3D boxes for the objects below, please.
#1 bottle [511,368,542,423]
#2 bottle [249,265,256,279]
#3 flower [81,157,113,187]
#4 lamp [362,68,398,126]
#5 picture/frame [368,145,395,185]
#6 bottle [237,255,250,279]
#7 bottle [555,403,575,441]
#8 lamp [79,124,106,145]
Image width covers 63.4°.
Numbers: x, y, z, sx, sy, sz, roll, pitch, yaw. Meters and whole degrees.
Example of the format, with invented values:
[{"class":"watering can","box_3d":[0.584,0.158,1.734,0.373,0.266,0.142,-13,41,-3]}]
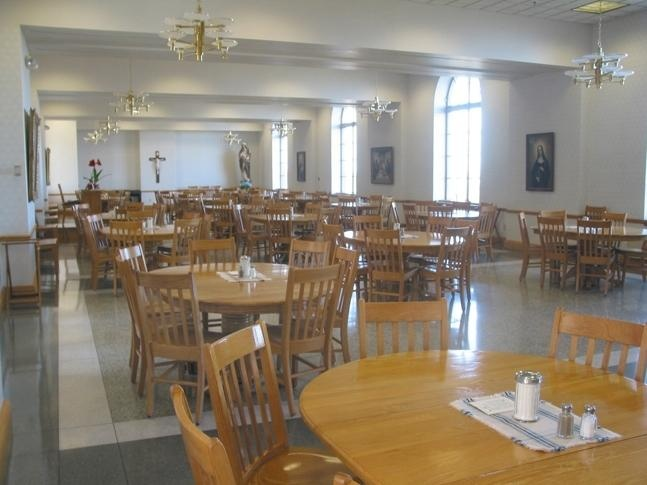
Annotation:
[{"class":"bottle","box_3d":[0.820,0.599,2.103,0.096,0.194,0.146,3,10,22]},{"class":"bottle","box_3d":[-0.584,0.248,4.327,0.075,0.125,0.072,0,-3,0]},{"class":"flower","box_3d":[-6.956,-2.103,16.043,0.758,0.909,0.657,2,1,12]},{"class":"lamp","box_3d":[1.534,-3.784,14.086,1.093,1.199,1.027,7,15,27]},{"class":"picture/frame","box_3d":[1.701,-2.231,14.988,0.084,1.316,1.089,-3,7,-31]},{"class":"bottle","box_3d":[-0.663,0.201,4.361,0.110,0.189,0.163,3,1,33]},{"class":"bottle","box_3d":[0.909,0.672,1.963,0.053,0.120,0.055,-1,9,0]},{"class":"lamp","box_3d":[-8.878,-4.172,20.003,1.034,0.814,1.228,-5,5,-18]}]
